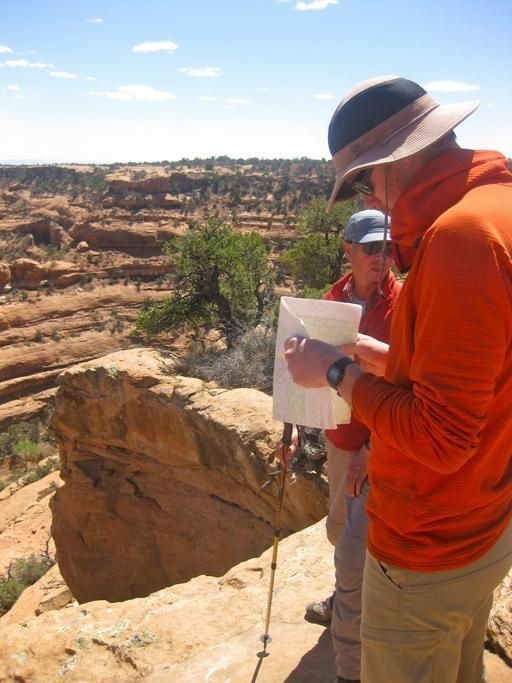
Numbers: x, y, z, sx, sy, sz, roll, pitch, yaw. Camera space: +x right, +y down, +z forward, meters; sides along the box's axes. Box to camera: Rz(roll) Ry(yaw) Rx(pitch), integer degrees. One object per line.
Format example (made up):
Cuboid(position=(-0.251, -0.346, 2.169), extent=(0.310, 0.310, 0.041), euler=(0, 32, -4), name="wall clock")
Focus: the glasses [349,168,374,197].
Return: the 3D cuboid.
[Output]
Cuboid(position=(0.299, -0.448, 1.648), extent=(0.032, 0.032, 0.086), euler=(2, -24, -5), name="glasses")
